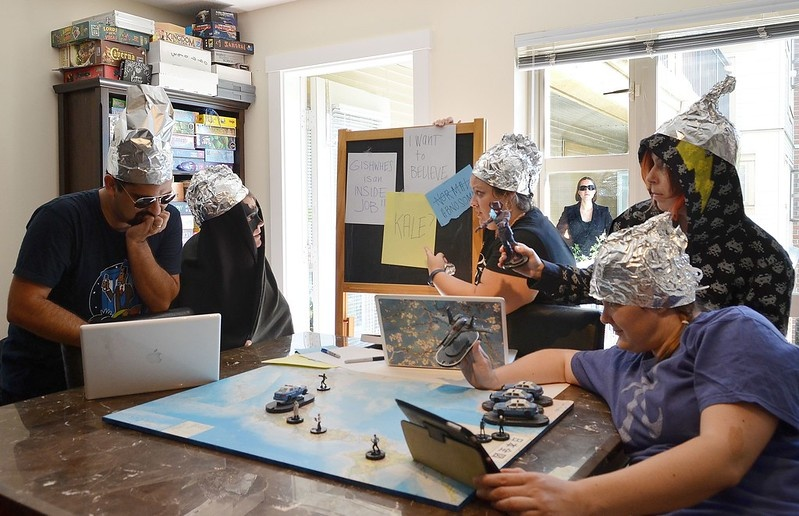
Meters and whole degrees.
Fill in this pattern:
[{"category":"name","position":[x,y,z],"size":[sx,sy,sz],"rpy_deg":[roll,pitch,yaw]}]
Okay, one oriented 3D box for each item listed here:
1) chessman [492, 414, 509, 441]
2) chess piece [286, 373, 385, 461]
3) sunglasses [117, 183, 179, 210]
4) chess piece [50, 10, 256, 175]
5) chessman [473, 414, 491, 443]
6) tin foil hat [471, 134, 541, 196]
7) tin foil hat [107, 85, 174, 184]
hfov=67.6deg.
[{"category":"chessman","position":[0.318,0.539,1.878],"size":[0.066,0.067,0.062],"rpy_deg":[-1,-4,-1]},{"category":"chess piece","position":[-0.263,0.538,2.004],"size":[0.219,0.030,0.212],"rpy_deg":[7,10,23]},{"category":"sunglasses","position":[-1.136,-0.281,2.681],"size":[0.241,0.113,0.105],"rpy_deg":[-2,4,-27]},{"category":"chess piece","position":[-1.918,-1.159,4.487],"size":[0.685,1.221,1.523],"rpy_deg":[10,11,32]},{"category":"chessman","position":[0.245,0.538,1.875],"size":[0.070,0.071,0.069],"rpy_deg":[-1,-3,2]},{"category":"tin foil hat","position":[0.608,-0.484,3.033],"size":[0.275,0.274,0.374],"rpy_deg":[9,2,-43]},{"category":"tin foil hat","position":[-1.141,-0.536,2.683],"size":[0.217,0.460,0.282],"rpy_deg":[2,12,-13]}]
